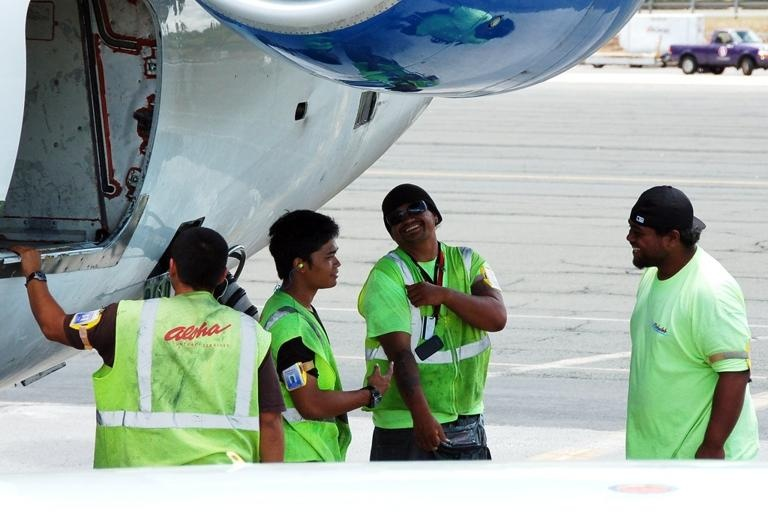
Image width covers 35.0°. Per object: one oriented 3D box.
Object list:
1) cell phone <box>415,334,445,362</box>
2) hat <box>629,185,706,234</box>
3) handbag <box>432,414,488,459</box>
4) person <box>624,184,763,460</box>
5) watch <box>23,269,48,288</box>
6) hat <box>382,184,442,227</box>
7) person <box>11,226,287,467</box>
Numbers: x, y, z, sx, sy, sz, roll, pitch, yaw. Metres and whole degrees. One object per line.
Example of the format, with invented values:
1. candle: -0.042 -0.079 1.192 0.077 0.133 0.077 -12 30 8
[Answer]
1. cell phone: 0.235 0.497 6.534 0.156 0.078 0.015 -30 2 -2
2. hat: 1.462 -0.244 6.197 0.371 0.177 0.229 -5 21 -13
3. handbag: 0.430 0.997 6.643 0.237 0.099 0.290 -10 -16 26
4. person: 1.503 0.358 6.138 0.691 1.385 0.382 6 11 41
5. watch: -1.648 0.101 5.789 0.107 0.054 0.099 -1 -14 -45
6. hat: 0.139 -0.261 6.707 0.279 0.185 0.270 -25 2 8
7. person: -1.023 0.729 5.909 1.224 1.785 0.500 0 26 -9
